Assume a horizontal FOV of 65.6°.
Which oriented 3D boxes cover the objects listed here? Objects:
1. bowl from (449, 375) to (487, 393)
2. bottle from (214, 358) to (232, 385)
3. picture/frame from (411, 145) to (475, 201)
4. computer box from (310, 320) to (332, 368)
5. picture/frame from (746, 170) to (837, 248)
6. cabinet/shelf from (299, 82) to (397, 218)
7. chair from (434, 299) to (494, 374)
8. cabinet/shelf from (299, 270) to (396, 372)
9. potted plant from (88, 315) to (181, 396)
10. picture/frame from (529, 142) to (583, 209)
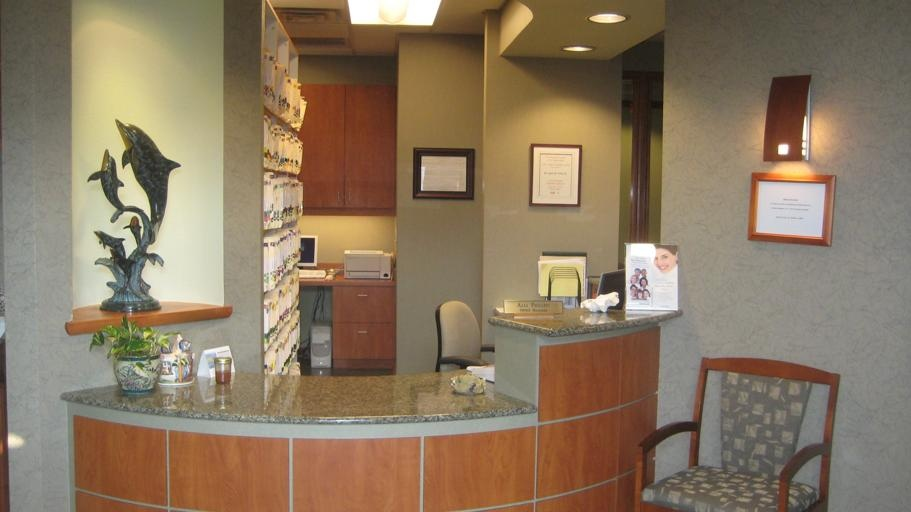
[{"bbox_3d":[0.086,0.924,5.119,0.275,0.121,0.214,1,-2,3],"label":"bowl"},{"bbox_3d":[-1.700,0.835,5.177,0.114,0.186,0.081,2,-2,-20],"label":"bottle"},{"bbox_3d":[-0.177,-0.993,8.338,0.753,0.543,0.049,0,1,-6],"label":"picture/frame"},{"bbox_3d":[-1.588,1.122,8.805,0.334,0.497,0.447,0,0,10],"label":"computer box"},{"bbox_3d":[2.580,-0.362,5.370,0.646,0.557,0.062,3,2,13],"label":"picture/frame"},{"bbox_3d":[-1.759,-1.458,9.454,1.326,1.531,1.262,-8,19,-33],"label":"cabinet/shelf"},{"bbox_3d":[0.074,0.767,6.687,0.541,0.654,0.749,1,-2,3],"label":"chair"},{"bbox_3d":[-1.285,0.801,8.674,1.427,1.188,0.721,0,-1,2],"label":"cabinet/shelf"},{"bbox_3d":[-2.268,0.716,5.089,0.547,0.469,0.565,-1,-1,24],"label":"potted plant"},{"bbox_3d":[1.062,-0.887,7.687,0.820,0.838,0.069,-1,3,-2],"label":"picture/frame"}]
